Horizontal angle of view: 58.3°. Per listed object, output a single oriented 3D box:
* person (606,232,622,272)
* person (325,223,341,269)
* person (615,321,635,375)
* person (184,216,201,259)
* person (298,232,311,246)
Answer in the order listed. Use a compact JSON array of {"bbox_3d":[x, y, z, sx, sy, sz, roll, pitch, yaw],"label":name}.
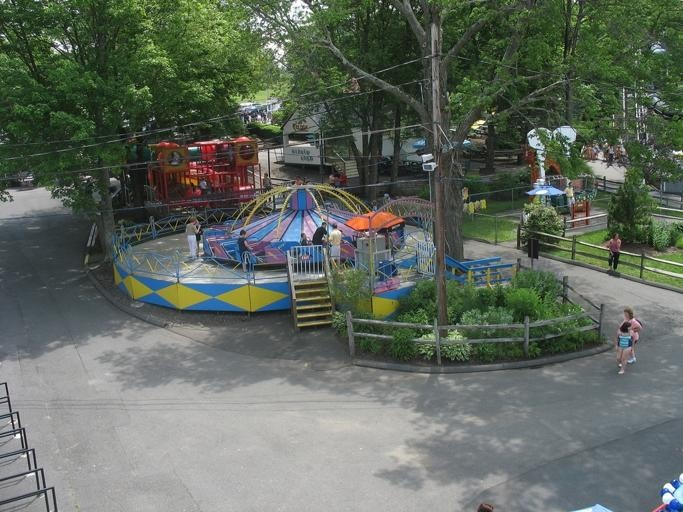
[{"bbox_3d":[13.160,-0.255,29.227,0.517,1.736,1.383,4,12,24],"label":"person"},{"bbox_3d":[-0.334,-0.523,27.405,0.615,1.797,1.575,-2,11,-1],"label":"person"},{"bbox_3d":[9.603,2.975,20.517,0.491,1.796,0.744,4,13,24],"label":"person"},{"bbox_3d":[-7.618,-1.003,31.124,0.576,1.983,1.583,-4,12,-12],"label":"person"},{"bbox_3d":[-1.671,-0.801,28.029,0.473,0.626,0.978,-2,11,-4],"label":"person"}]
